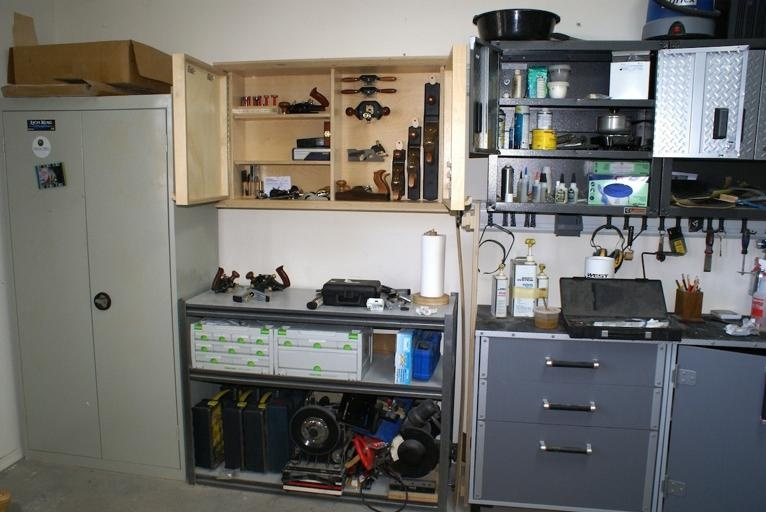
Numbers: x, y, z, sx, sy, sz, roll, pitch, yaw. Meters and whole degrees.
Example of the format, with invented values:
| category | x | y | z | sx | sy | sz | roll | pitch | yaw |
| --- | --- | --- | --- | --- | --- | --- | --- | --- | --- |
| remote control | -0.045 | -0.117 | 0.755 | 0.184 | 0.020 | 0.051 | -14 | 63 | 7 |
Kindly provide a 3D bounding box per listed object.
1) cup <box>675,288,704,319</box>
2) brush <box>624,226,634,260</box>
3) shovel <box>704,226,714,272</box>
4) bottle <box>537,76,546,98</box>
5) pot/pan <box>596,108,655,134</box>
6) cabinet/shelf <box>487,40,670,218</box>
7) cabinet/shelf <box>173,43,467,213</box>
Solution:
| category | x | y | z | sx | sy | sz | roll | pitch | yaw |
| --- | --- | --- | --- | --- | --- | --- | --- | --- | --- |
| cup | 2.015 | 0.315 | 4.077 | 0.135 | 0.176 | 0.189 | -4 | 8 | -25 |
| brush | 1.678 | -0.081 | 4.226 | 0.069 | 0.244 | 0.112 | 3 | 10 | 20 |
| shovel | 2.212 | -0.048 | 4.199 | 0.057 | 0.337 | 0.108 | 4 | 11 | 28 |
| bottle | 1.036 | -1.100 | 4.024 | 0.083 | 0.132 | 0.043 | -3 | 10 | -16 |
| pot/pan | 1.584 | -0.884 | 4.054 | 0.331 | 0.174 | 0.310 | 3 | 10 | 22 |
| cabinet/shelf | 1.280 | -0.853 | 4.015 | 1.253 | 1.101 | 0.409 | 0 | 6 | 8 |
| cabinet/shelf | -0.484 | -0.892 | 4.335 | 2.098 | 1.092 | 1.099 | 1 | 6 | 6 |
